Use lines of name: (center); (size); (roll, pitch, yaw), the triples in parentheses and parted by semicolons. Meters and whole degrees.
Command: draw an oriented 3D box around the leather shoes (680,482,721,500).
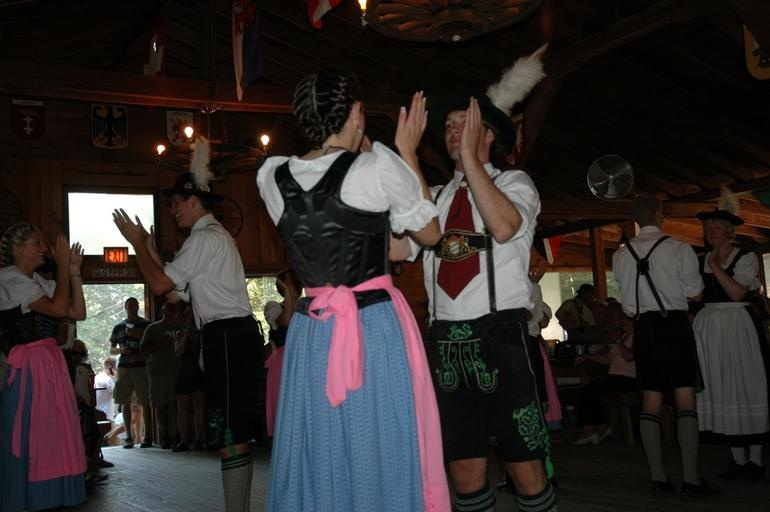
leather shoes: (2.399, 1.777, 4.519); (0.281, 0.101, 0.117); (0, -4, -9)

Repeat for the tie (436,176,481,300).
tie: (0.373, -0.076, 3.146); (0.238, 0.676, 0.053); (-10, -32, 27)

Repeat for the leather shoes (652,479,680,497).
leather shoes: (2.154, 1.787, 4.584); (0.200, 0.083, 0.081); (3, -5, -29)

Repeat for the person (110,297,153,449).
person: (-3.838, 1.727, 8.945); (0.729, 2.253, 0.677); (-2, -14, -16)

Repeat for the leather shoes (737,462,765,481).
leather shoes: (3.092, 1.785, 4.959); (0.222, 0.122, 0.117); (-2, -8, -9)

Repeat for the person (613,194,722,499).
person: (2.152, 0.646, 4.610); (0.629, 2.328, 0.320); (-6, -8, 21)

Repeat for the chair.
chair: (2.896, 1.906, 6.787); (0.552, 0.415, 0.473); (4, -38, -30)

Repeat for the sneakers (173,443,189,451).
sneakers: (-2.743, 2.544, 7.964); (0.101, 0.103, 0.260); (-5, -14, 25)

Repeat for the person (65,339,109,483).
person: (-3.059, 1.548, 6.244); (0.435, 1.354, 0.383); (-6, 2, -34)

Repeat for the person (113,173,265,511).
person: (-1.260, 0.593, 4.105); (0.663, 2.417, 0.913); (-8, -9, 34)

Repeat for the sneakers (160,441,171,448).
sneakers: (-3.101, 2.639, 8.314); (0.118, 0.071, 0.117); (2, -2, -5)
